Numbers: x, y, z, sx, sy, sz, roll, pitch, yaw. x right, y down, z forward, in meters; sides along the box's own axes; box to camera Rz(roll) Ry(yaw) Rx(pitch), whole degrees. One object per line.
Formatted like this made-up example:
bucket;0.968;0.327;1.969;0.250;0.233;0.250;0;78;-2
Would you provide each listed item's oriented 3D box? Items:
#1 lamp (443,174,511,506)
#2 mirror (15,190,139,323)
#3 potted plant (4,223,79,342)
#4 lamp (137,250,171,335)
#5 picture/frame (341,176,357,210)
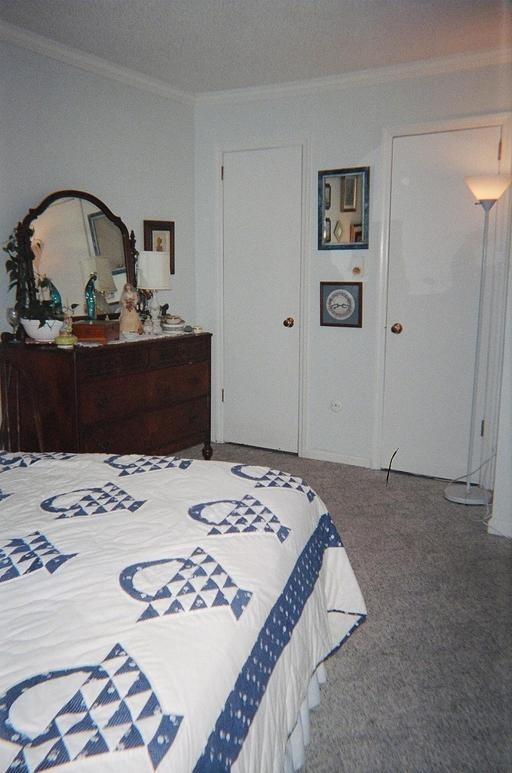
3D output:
lamp;1.281;-0.220;3.173;0.374;1.840;0.459;9;10;21
mirror;-1.086;-0.761;3.274;0.052;0.702;0.792;3;13;22
potted plant;-1.191;-0.563;3.034;0.399;0.627;0.335;5;9;-3
lamp;-0.714;-0.649;3.799;0.214;0.536;0.422;3;10;-13
picture/frame;0.610;-1.264;3.614;0.127;0.238;0.026;12;11;34
